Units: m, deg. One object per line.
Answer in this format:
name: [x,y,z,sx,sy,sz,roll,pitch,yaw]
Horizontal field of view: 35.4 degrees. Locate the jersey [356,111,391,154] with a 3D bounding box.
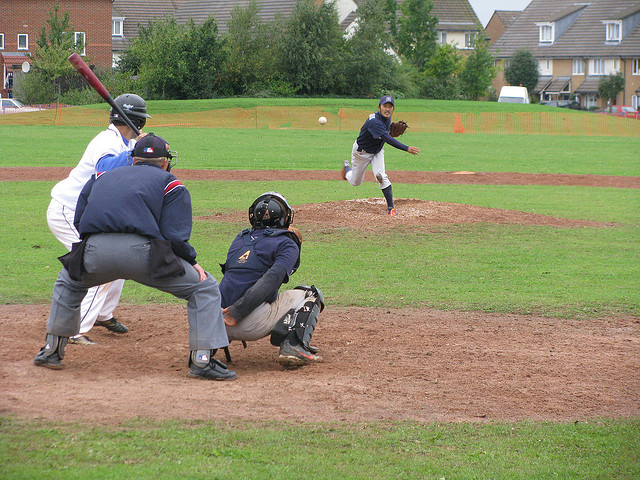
jersey: [0.999,-1.964,18.376,0.575,0.719,0.893,19,24,12]

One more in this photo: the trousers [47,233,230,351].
trousers: [-2.131,0.488,11.279,2.279,1.124,0.790,1,-3,15]

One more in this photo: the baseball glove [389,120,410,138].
baseball glove: [1.487,-2.115,18.984,0.328,0.085,0.385,7,-37,-25]

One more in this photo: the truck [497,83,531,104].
truck: [11.720,-8.872,61.290,1.729,1.384,2.674,0,3,21]

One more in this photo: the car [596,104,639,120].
car: [17.654,-7.556,58.610,1.519,0.900,7.055,3,5,8]

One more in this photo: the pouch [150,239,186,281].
pouch: [-1.688,0.206,11.070,0.411,0.411,0.184,-6,5,-4]

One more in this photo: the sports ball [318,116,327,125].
sports ball: [0.113,-4.928,41.597,0.322,0.263,0.270,7,40,1]

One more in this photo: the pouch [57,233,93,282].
pouch: [-2.693,0.173,11.114,0.135,0.471,0.608,-13,19,-42]
